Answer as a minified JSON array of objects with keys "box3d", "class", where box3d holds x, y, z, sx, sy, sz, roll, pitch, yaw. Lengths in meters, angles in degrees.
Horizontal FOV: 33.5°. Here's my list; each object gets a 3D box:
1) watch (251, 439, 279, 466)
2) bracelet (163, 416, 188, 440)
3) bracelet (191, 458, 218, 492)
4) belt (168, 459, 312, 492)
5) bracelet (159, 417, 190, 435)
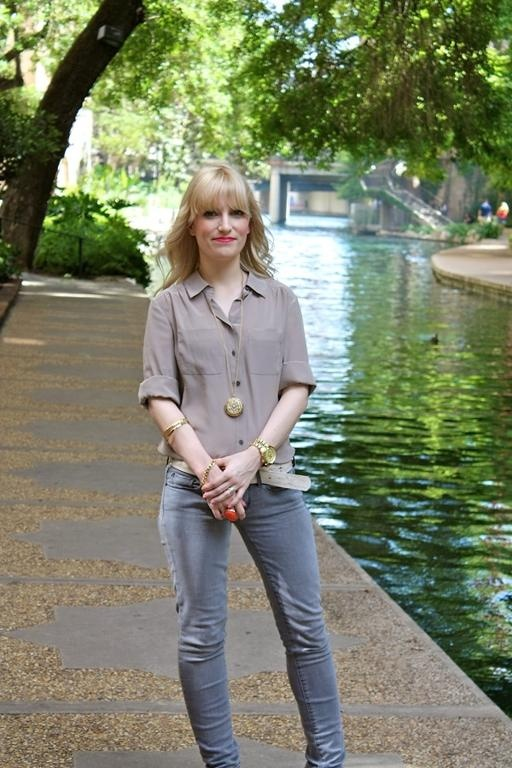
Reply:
[{"box3d":[0.024,0.169,2.097,0.050,0.067,0.074,-30,16,-39],"class":"watch"},{"box3d":[-0.196,0.109,2.096,0.053,0.052,0.059,-10,35,-46],"class":"bracelet"},{"box3d":[-0.123,0.215,1.974,0.022,0.056,0.047,23,-5,-6],"class":"bracelet"},{"box3d":[0.003,0.224,2.094,0.203,0.043,0.139,5,3,-10],"class":"belt"},{"box3d":[-0.194,0.105,2.045,0.017,0.046,0.042,57,22,10],"class":"bracelet"}]
